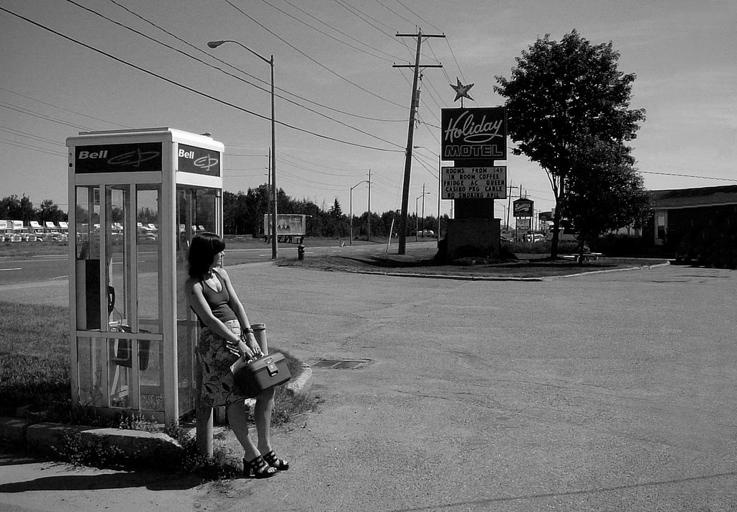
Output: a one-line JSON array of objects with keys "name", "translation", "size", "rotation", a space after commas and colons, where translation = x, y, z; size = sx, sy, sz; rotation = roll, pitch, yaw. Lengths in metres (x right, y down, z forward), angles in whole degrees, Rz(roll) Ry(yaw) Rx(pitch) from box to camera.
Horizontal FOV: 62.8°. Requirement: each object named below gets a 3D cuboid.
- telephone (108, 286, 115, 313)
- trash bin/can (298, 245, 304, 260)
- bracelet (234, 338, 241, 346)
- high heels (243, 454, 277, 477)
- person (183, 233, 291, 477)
[{"name": "telephone", "translation": [-3.057, 0.519, 7.184], "size": [0.054, 0.318, 0.220], "rotation": [-1, 3, -7]}, {"name": "trash bin/can", "translation": [-4.108, -0.195, 36.635], "size": [0.347, 0.754, 1.211], "rotation": [-1, 3, -9]}, {"name": "bracelet", "translation": [-1.335, 0.876, 6.184], "size": [0.046, 0.054, 0.052], "rotation": [9, 18, -19]}, {"name": "high heels", "translation": [-1.122, 2.182, 6.335], "size": [0.341, 0.225, 0.167], "rotation": [1, 0, 5]}, {"name": "person", "translation": [-1.421, 1.020, 6.339], "size": [0.898, 2.528, 0.494], "rotation": [-1, 3, -2]}]
